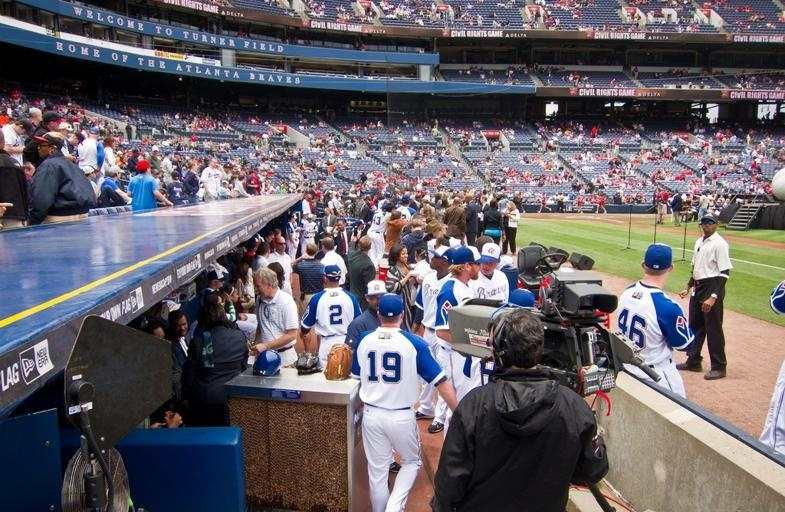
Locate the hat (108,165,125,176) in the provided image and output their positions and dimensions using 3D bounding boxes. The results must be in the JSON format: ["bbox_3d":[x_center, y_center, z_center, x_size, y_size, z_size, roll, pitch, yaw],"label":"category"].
[{"bbox_3d":[-6.052,-1.844,15.229,0.266,0.154,0.184,-11,23,-18],"label":"hat"}]

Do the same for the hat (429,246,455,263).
[{"bbox_3d":[0.801,-0.037,10.922,0.310,0.188,0.236,13,1,2],"label":"hat"}]

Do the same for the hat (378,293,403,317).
[{"bbox_3d":[-0.022,0.608,8.565,0.208,0.183,0.305,2,31,4],"label":"hat"}]

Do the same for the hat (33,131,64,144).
[{"bbox_3d":[-4.816,-1.663,9.742,0.347,0.177,0.264,1,8,-19],"label":"hat"}]

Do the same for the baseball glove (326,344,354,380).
[{"bbox_3d":[-0.661,1.369,8.829,0.205,0.390,0.354,8,0,37],"label":"baseball glove"}]

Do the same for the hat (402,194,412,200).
[{"bbox_3d":[0.399,-1.602,18.875,0.262,0.153,0.408,-1,4,6],"label":"hat"}]

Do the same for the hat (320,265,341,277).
[{"bbox_3d":[-0.878,0.198,10.146,0.241,0.207,0.274,3,7,-3],"label":"hat"}]

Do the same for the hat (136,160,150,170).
[{"bbox_3d":[-4.872,-1.767,13.568,0.198,0.147,0.278,2,42,-6],"label":"hat"}]

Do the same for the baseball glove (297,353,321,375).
[{"bbox_3d":[-1.072,1.390,8.931,0.307,0.226,0.205,2,7,-8],"label":"baseball glove"}]

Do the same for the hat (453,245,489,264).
[{"bbox_3d":[1.086,-0.040,9.905,0.404,0.180,0.258,-1,10,-26],"label":"hat"}]

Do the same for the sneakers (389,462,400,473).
[{"bbox_3d":[0.039,2.896,9.465,0.222,0.102,0.085,-1,4,18],"label":"sneakers"}]

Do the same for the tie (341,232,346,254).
[{"bbox_3d":[-1.210,-0.323,17.293,0.131,0.509,0.270,2,7,-5],"label":"tie"}]

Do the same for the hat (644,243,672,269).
[{"bbox_3d":[3.449,0.001,8.993,0.247,0.219,0.402,9,48,21],"label":"hat"}]

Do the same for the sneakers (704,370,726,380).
[{"bbox_3d":[5.283,1.948,11.418,0.363,0.152,0.149,-1,1,-3],"label":"sneakers"}]

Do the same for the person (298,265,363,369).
[{"bbox_3d":[-0.892,1.229,10.633,0.929,2.295,0.647,-1,20,-7],"label":"person"}]

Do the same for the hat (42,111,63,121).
[{"bbox_3d":[-4.830,-1.975,9.880,0.223,0.120,0.160,-27,31,-33],"label":"hat"}]

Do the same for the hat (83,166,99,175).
[{"bbox_3d":[-5.857,-1.676,13.420,0.272,0.173,0.508,0,8,-27],"label":"hat"}]

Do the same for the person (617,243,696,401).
[{"bbox_3d":[3.385,0.835,8.930,0.919,1.951,0.489,6,8,20],"label":"person"}]

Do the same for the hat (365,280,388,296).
[{"bbox_3d":[-0.222,0.461,9.587,0.253,0.207,0.448,3,7,-4],"label":"hat"}]

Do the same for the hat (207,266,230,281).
[{"bbox_3d":[-2.777,0.286,11.064,0.209,0.172,0.351,13,0,21],"label":"hat"}]

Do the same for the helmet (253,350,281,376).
[{"bbox_3d":[-1.597,1.363,8.903,0.225,0.235,0.362,9,12,7],"label":"helmet"}]
